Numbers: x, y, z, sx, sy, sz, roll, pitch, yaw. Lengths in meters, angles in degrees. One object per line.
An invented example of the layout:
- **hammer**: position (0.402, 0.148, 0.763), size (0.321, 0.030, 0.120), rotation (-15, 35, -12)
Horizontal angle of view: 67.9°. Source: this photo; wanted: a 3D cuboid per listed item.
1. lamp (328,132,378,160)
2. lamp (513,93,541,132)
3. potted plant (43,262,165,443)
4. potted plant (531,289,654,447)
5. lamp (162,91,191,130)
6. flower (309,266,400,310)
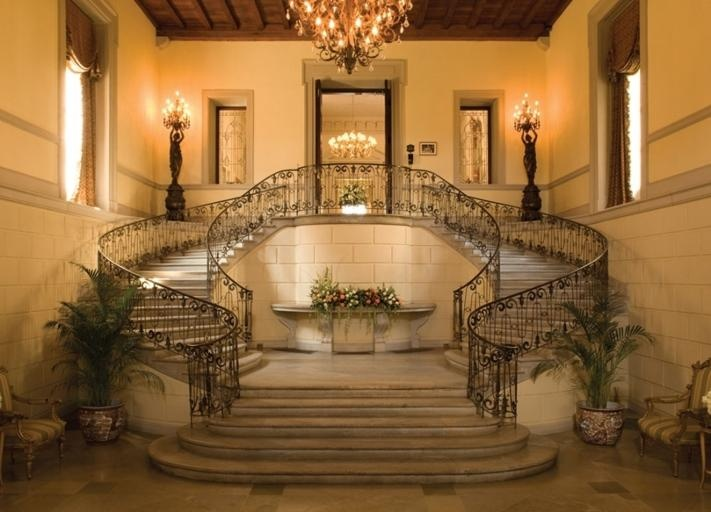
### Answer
- **lamp**: position (-0.142, -3.001, 14.661), size (1.274, 0.738, 1.312), rotation (-2, -1, 31)
- **lamp**: position (3.979, -3.289, 12.250), size (0.580, 0.866, 0.596), rotation (-2, 3, -19)
- **potted plant**: position (-4.057, 1.422, 8.148), size (2.337, 2.455, 1.210), rotation (0, -3, 32)
- **potted plant**: position (3.587, 1.645, 7.907), size (2.166, 2.052, 1.083), rotation (3, -3, -41)
- **lamp**: position (-4.054, -3.225, 11.976), size (0.506, 0.774, 0.499), rotation (0, 14, -9)
- **flower**: position (-0.039, 0.629, 10.333), size (1.274, 0.646, 0.774), rotation (3, -1, -4)
